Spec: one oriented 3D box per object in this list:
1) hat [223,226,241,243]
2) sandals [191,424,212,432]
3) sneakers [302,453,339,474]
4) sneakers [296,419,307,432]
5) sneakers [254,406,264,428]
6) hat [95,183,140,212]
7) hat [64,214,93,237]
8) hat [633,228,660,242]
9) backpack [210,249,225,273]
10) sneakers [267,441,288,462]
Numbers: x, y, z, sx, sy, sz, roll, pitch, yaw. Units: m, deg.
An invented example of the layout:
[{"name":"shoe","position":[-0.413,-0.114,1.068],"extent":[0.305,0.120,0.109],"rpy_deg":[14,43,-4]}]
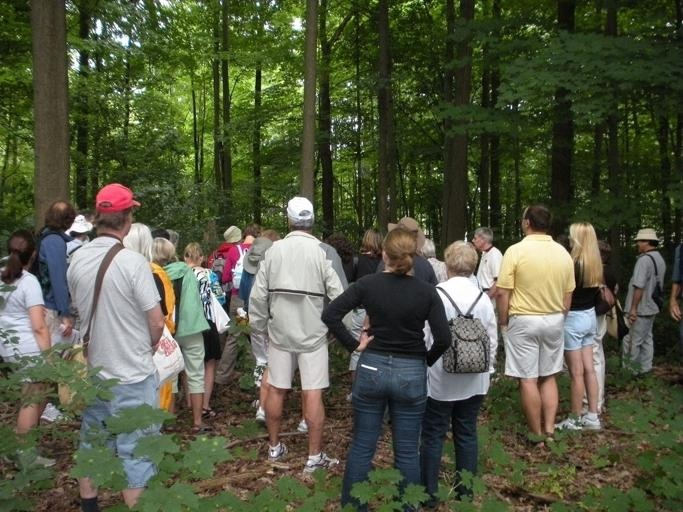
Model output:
[{"name":"hat","position":[-1.766,-0.341,10.479],"extent":[0.266,0.249,0.168],"rpy_deg":[3,-32,44]},{"name":"sandals","position":[-1.713,2.118,8.043],"extent":[0.165,0.058,0.095],"rpy_deg":[1,-3,-4]},{"name":"sneakers","position":[-0.224,2.287,7.234],"extent":[0.482,0.211,0.171],"rpy_deg":[-1,3,-31]},{"name":"sneakers","position":[-0.487,2.126,8.172],"extent":[0.147,0.156,0.349],"rpy_deg":[-3,-15,17]},{"name":"sneakers","position":[-1.028,2.024,8.324],"extent":[0.102,0.126,0.279],"rpy_deg":[1,-3,-3]},{"name":"hat","position":[-2.130,-0.547,6.284],"extent":[0.266,0.221,0.389],"rpy_deg":[5,15,18]},{"name":"hat","position":[-3.331,-0.395,8.294],"extent":[0.266,0.103,0.269],"rpy_deg":[19,41,35]},{"name":"hat","position":[4.523,-0.316,9.662],"extent":[0.314,0.142,0.310],"rpy_deg":[3,-2,28]},{"name":"backpack","position":[-2.018,0.092,10.686],"extent":[0.209,0.314,0.313],"rpy_deg":[3,31,-4]},{"name":"sneakers","position":[-0.733,2.248,7.536],"extent":[0.120,0.129,0.278],"rpy_deg":[1,11,19]}]
